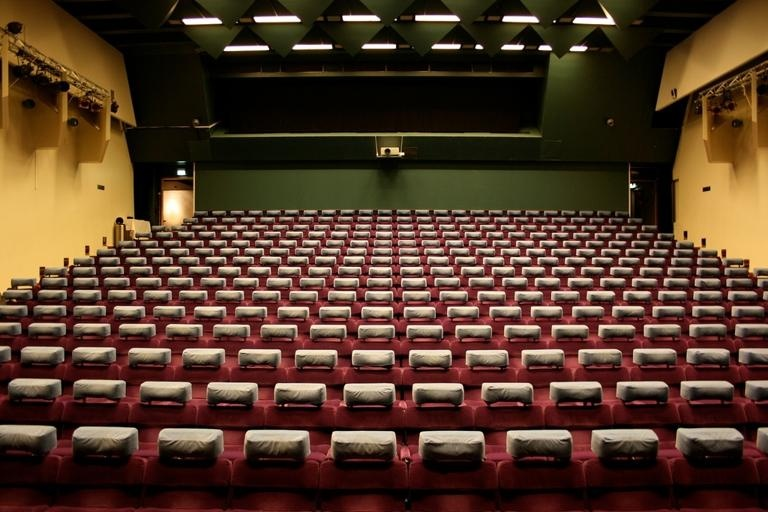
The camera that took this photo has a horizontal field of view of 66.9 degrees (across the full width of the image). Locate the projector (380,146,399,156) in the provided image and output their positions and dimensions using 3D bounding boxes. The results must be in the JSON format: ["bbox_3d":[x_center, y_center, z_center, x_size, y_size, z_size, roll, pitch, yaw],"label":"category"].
[{"bbox_3d":[0.145,-2.076,11.489,0.222,0.222,0.061,1,18,11],"label":"projector"}]
